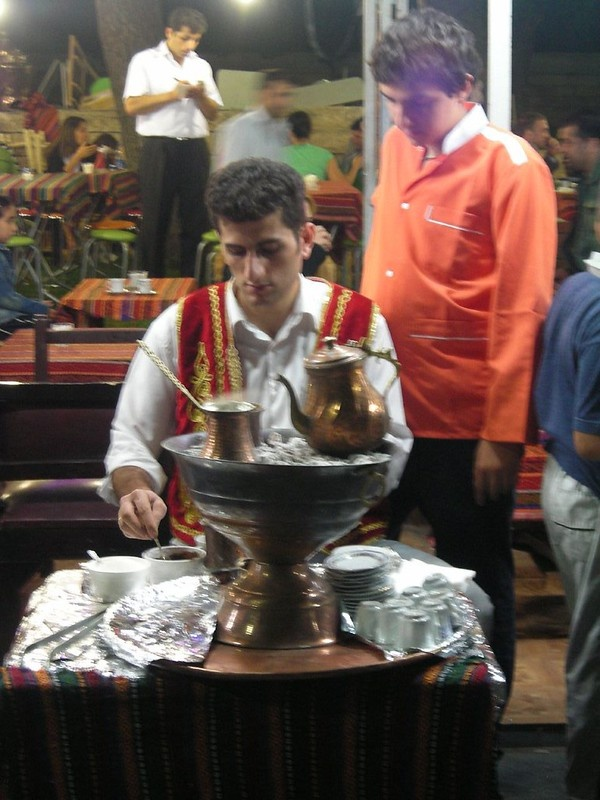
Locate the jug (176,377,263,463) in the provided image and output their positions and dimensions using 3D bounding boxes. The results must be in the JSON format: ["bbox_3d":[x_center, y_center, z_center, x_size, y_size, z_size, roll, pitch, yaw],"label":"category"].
[{"bbox_3d":[-0.122,0.027,0.930,0.153,0.091,0.077,-4,17,-20],"label":"jug"}]

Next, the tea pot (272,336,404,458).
[{"bbox_3d":[0.048,-0.007,0.974,0.188,0.147,0.121,-13,20,-25],"label":"tea pot"}]

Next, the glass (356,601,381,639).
[{"bbox_3d":[0.088,0.286,0.964,0.047,0.035,0.041,1,4,2],"label":"glass"}]

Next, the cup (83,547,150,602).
[{"bbox_3d":[-0.282,0.272,1.162,0.086,0.035,0.094,0,-1,0],"label":"cup"}]

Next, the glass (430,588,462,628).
[{"bbox_3d":[0.204,0.282,1.014,0.046,0.035,0.043,-11,13,-36],"label":"glass"}]

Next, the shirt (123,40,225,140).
[{"bbox_3d":[-0.769,-1.977,4.656,0.904,0.642,0.432,-2,20,-13],"label":"shirt"}]

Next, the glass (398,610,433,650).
[{"bbox_3d":[0.143,0.287,0.923,0.047,0.036,0.042,-1,-3,0],"label":"glass"}]

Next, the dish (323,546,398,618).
[{"bbox_3d":[0.087,0.250,1.086,0.101,0.035,0.071,-6,19,32],"label":"dish"}]

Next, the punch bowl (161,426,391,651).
[{"bbox_3d":[-0.022,0.196,0.970,0.325,0.217,0.304,1,-14,0],"label":"punch bowl"}]

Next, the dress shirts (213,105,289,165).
[{"bbox_3d":[-0.276,-1.487,4.112,0.369,0.327,0.449,0,13,6],"label":"dress shirts"}]

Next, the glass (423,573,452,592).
[{"bbox_3d":[0.204,0.266,1.071,0.022,0.018,0.022,-6,-6,29],"label":"glass"}]

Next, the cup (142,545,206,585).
[{"bbox_3d":[-0.209,0.271,1.225,0.077,0.044,0.066,2,-4,-18],"label":"cup"}]

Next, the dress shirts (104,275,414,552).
[{"bbox_3d":[-0.100,0.000,1.704,0.756,0.530,0.350,-2,9,-9],"label":"dress shirts"}]
